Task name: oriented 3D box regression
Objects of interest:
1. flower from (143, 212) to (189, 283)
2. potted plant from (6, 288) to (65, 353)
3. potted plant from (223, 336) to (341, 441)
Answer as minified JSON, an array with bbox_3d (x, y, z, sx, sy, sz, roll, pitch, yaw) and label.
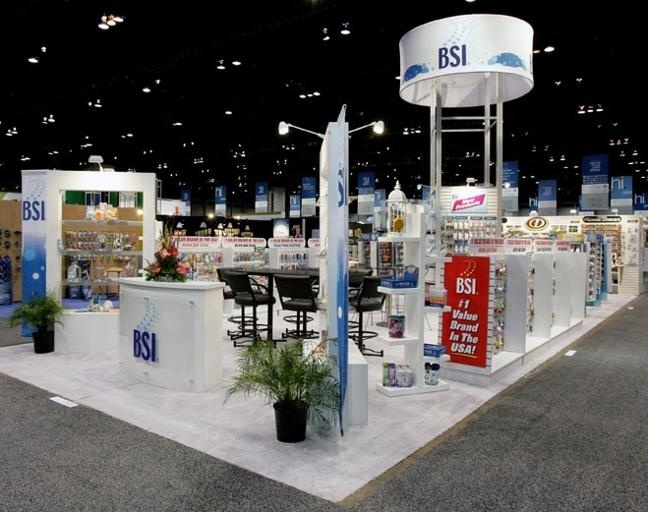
[{"bbox_3d":[-1.772,-0.060,6.054,0.598,0.748,0.653,-4,-5,38],"label":"flower"},{"bbox_3d":[-3.761,0.824,6.788,0.511,0.629,0.429,20,4,39],"label":"potted plant"},{"bbox_3d":[-0.390,1.166,4.661,0.822,0.664,0.856,8,-16,-22],"label":"potted plant"}]
